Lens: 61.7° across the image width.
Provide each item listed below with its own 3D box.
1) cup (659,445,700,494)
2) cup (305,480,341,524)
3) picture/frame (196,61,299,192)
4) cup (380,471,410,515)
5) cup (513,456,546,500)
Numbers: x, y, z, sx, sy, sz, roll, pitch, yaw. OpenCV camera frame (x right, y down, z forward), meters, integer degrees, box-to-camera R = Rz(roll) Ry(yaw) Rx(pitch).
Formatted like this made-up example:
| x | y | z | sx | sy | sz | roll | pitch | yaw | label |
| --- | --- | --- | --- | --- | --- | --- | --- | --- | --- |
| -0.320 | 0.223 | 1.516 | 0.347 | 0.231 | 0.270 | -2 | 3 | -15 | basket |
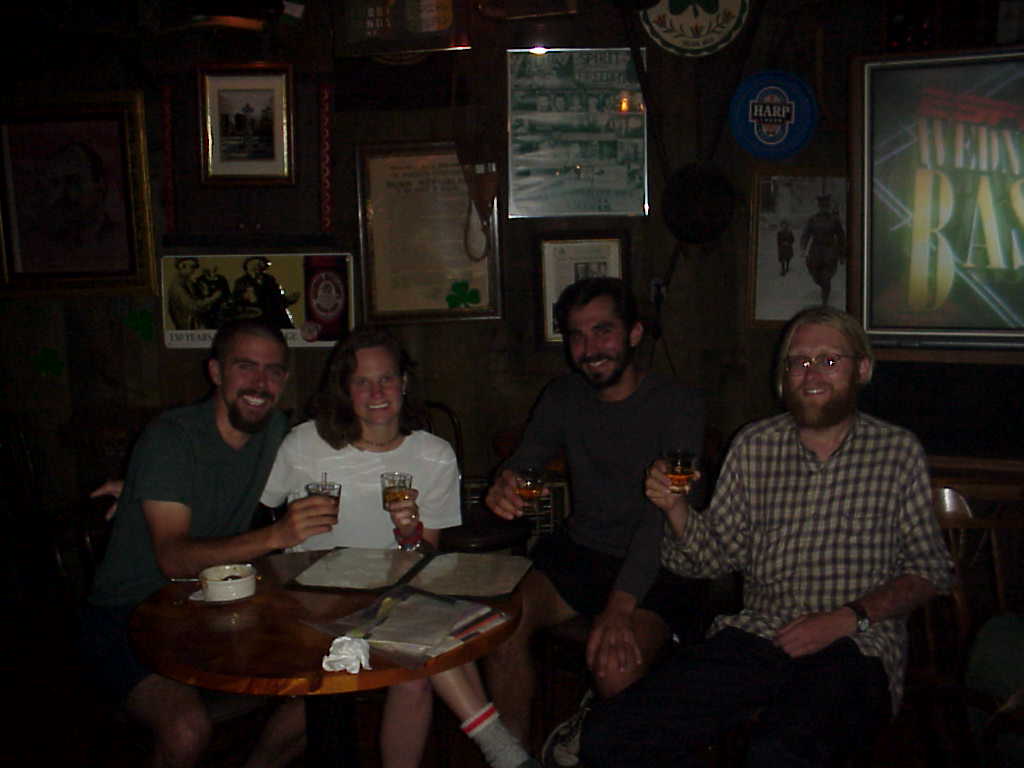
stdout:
| x | y | z | sx | sy | sz | roll | pitch | yaw | label |
| --- | --- | --- | --- | --- | --- | --- | --- | --- | --- |
| 0.670 | 0.351 | 3.444 | 0.166 | 0.166 | 0.164 | -2 | 2 | 0 | cup |
| -0.707 | 0.446 | 3.257 | 0.166 | 0.176 | 0.176 | 1 | 8 | 0 | cup |
| -1.464 | -1.453 | 4.722 | 0.690 | 0.783 | 0.068 | 1 | 9 | 1 | picture/frame |
| -0.451 | 0.424 | 3.399 | 0.145 | 0.131 | 0.135 | 3 | -6 | 0 | cup |
| 0.076 | 0.419 | 3.723 | 0.132 | 0.120 | 0.146 | 1 | -10 | 3 | cup |
